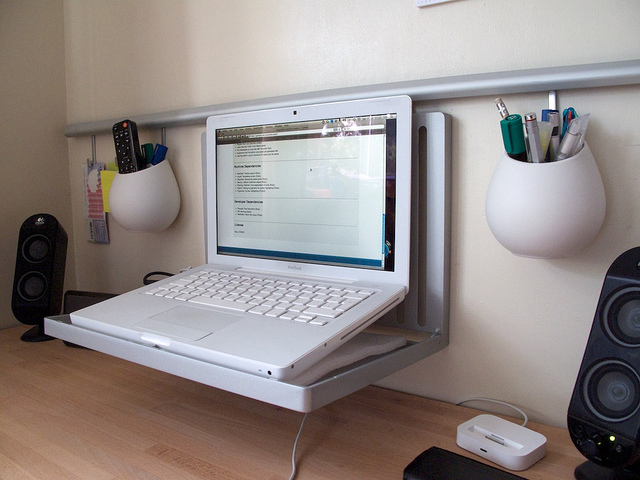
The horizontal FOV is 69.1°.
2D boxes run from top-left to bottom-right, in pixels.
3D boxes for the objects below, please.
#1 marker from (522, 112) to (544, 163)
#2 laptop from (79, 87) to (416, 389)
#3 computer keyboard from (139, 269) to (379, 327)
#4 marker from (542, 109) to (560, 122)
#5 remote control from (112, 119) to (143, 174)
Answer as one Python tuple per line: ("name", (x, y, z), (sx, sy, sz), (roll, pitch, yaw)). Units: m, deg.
("marker", (0.329, -0.155, 0.712), (0.031, 0.071, 0.061), (4, 12, 23))
("laptop", (-0.135, -0.048, 0.772), (0.505, 0.359, 0.390), (3, 10, 28))
("computer keyboard", (-0.115, 0.092, 0.813), (0.418, 0.026, 0.151), (6, 14, 29))
("marker", (0.360, -0.193, 0.725), (0.014, 0.025, 0.025), (-3, 4, -42))
("remote control", (-0.454, -0.216, 1.101), (0.061, 0.139, 0.037), (-7, 6, 15))
